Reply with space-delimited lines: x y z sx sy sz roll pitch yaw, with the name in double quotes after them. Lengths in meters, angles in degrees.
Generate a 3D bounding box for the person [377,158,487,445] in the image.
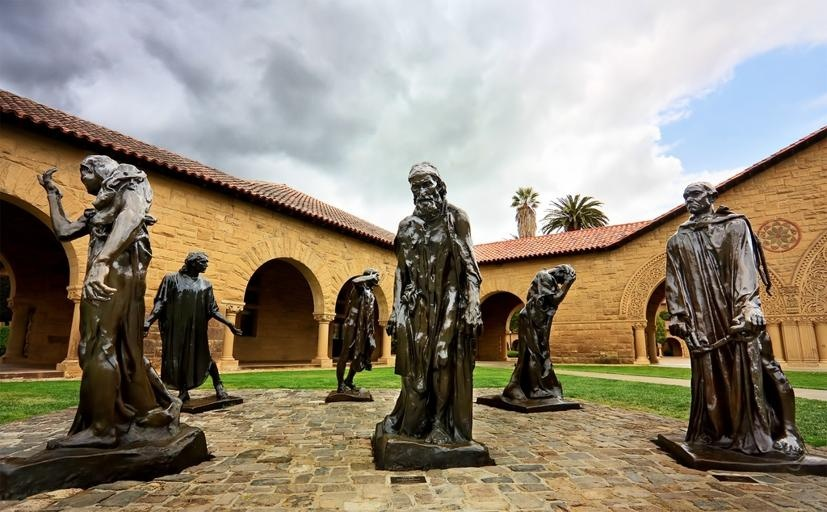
0.307 0.554 5.392 1.189 3.496 0.492 1 -3 5 "person"

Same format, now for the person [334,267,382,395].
-1.150 1.627 9.155 0.789 2.730 1.493 1 -3 -7 "person"

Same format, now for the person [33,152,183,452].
-3.518 0.458 4.992 1.418 3.376 0.599 2 -3 -20 "person"

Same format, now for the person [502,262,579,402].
2.523 1.472 8.207 1.232 2.643 0.853 0 -3 18 "person"
